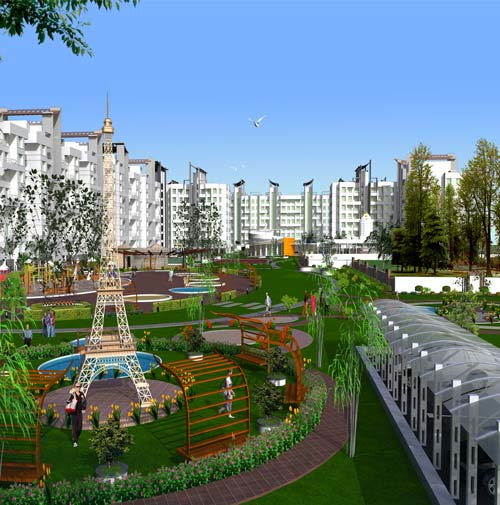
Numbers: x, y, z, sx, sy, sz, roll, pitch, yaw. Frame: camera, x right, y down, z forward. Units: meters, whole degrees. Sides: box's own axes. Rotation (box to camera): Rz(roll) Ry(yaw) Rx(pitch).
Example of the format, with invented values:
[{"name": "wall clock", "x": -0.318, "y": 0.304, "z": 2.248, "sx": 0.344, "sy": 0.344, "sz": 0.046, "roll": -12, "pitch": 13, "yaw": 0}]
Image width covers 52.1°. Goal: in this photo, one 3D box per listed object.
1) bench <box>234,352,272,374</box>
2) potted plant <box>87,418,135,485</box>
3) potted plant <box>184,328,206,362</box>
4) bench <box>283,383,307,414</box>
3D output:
[{"name": "bench", "x": 0.159, "y": 4.807, "z": 22.302, "sx": 0.588, "sy": 0.583, "sz": 1.762, "roll": -2, "pitch": 6, "yaw": -19}, {"name": "potted plant", "x": -3.449, "y": 4.830, "z": 12.417, "sx": 0.944, "sy": 1.419, "sz": 0.973, "roll": -5, "pitch": 8, "yaw": -27}, {"name": "potted plant", "x": -2.684, "y": 4.554, "z": 24.680, "sx": 0.962, "sy": 1.686, "sz": 0.938, "roll": 1, "pitch": -1, "yaw": 7}, {"name": "bench", "x": 1.484, "y": 4.900, "z": 17.239, "sx": 0.612, "sy": 0.938, "sz": 0.205, "roll": 1, "pitch": -2, "yaw": 23}]
